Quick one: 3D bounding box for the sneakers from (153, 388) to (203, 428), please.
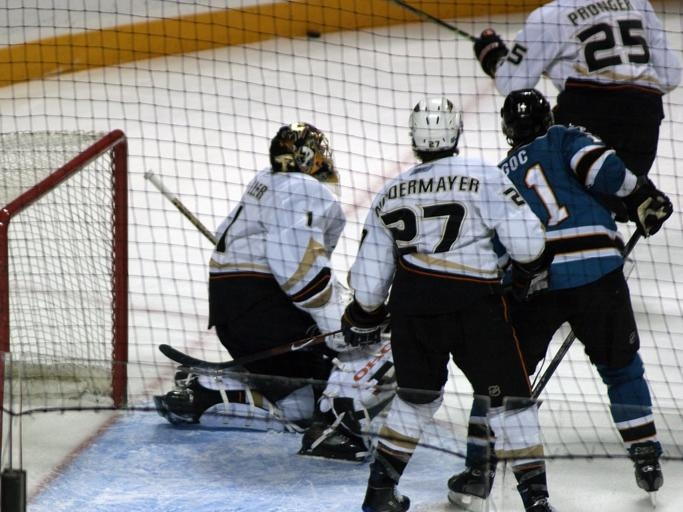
[{"bbox_3d":[-0.768,0.723,5.094,0.240,0.171,0.165,-2,5,-3],"label":"sneakers"}]

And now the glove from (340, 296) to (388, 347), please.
[{"bbox_3d":[0.106,0.320,4.945,0.223,0.207,0.229,7,34,-1],"label":"glove"}]

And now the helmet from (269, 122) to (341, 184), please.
[{"bbox_3d":[-0.140,-0.547,5.474,0.372,0.288,0.258,-19,29,-27],"label":"helmet"}]

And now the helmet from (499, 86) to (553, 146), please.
[{"bbox_3d":[0.891,-0.663,5.090,0.265,0.258,0.298,0,16,16],"label":"helmet"}]

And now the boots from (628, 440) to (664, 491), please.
[{"bbox_3d":[1.356,0.924,4.715,0.167,0.209,0.076,0,-27,-9],"label":"boots"}]

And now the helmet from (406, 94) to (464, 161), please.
[{"bbox_3d":[0.455,-0.608,4.896,0.267,0.258,0.292,2,40,17],"label":"helmet"}]
